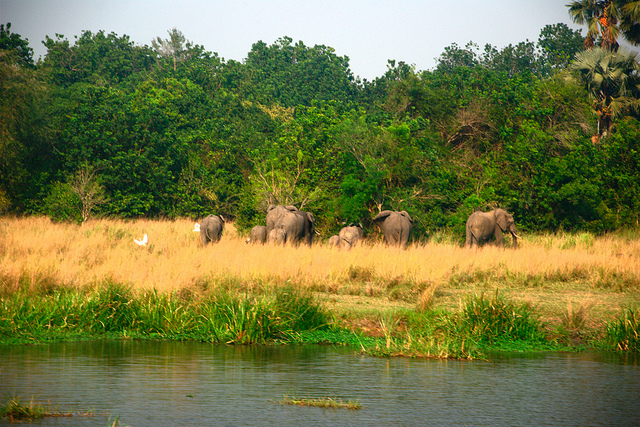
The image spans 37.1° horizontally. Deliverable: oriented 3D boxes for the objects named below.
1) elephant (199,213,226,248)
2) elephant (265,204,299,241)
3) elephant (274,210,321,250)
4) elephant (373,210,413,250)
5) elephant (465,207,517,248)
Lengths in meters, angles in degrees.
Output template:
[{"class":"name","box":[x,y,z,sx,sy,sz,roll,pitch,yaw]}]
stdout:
[{"class":"elephant","box":[-5.509,0.789,48.938,0.913,1.583,2.629,2,17,7]},{"class":"elephant","box":[-2.035,0.159,48.288,0.970,1.292,2.197,2,11,6]},{"class":"elephant","box":[-1.256,0.796,46.823,1.527,1.718,3.414,4,10,10]},{"class":"elephant","box":[3.868,1.009,48.216,1.784,2.114,2.778,0,7,-1]},{"class":"elephant","box":[8.717,0.834,48.324,2.954,1.894,1.392,-4,6,-38]}]
